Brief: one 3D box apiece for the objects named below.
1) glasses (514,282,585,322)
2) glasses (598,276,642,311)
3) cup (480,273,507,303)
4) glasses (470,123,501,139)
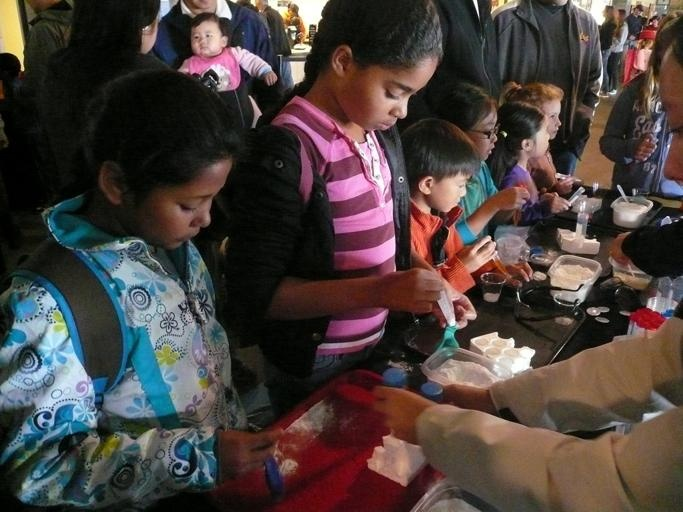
[{"bbox_3d":[0.729,0.172,1.965,0.150,0.040,0.153,5,38,30],"label":"glasses"},{"bbox_3d":[1.042,0.138,2.036,0.080,0.069,0.137,-10,27,-3],"label":"glasses"},{"bbox_3d":[0.568,0.115,2.055,0.102,0.090,0.102,0,18,0],"label":"cup"},{"bbox_3d":[0.693,-0.608,2.613,0.114,0.034,0.116,13,28,23],"label":"glasses"}]
